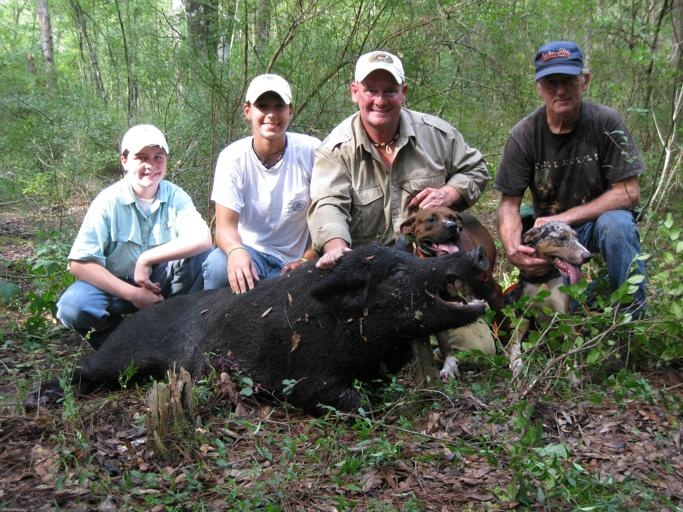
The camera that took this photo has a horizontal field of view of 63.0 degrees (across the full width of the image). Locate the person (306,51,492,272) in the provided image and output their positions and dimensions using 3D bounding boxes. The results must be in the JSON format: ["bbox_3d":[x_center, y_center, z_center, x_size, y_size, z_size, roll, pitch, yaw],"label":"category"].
[{"bbox_3d":[0.453,-0.986,5.932,1.250,2.818,1.196,-1,5,-14],"label":"person"}]

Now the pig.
[{"bbox_3d":[-0.848,0.837,5.104,4.380,1.310,1.256,-8,3,21],"label":"pig"}]

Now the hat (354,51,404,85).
[{"bbox_3d":[0.372,-1.910,5.636,0.490,0.352,0.303,0,12,5],"label":"hat"}]

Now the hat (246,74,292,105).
[{"bbox_3d":[-0.794,-1.782,5.946,0.466,0.335,0.340,-3,12,-10],"label":"hat"}]

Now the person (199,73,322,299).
[{"bbox_3d":[-0.827,-0.717,5.918,1.144,2.430,1.159,-3,16,-23],"label":"person"}]

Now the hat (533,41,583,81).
[{"bbox_3d":[2.151,-1.950,5.524,0.445,0.389,0.336,3,12,18],"label":"hat"}]

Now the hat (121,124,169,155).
[{"bbox_3d":[-2.089,-1.224,5.806,0.425,0.296,0.354,-5,12,-22],"label":"hat"}]
